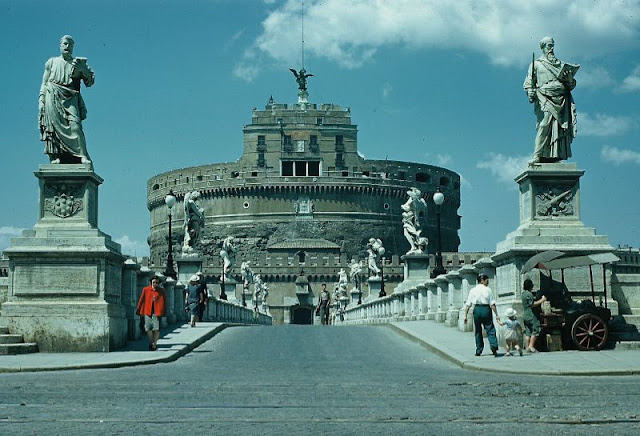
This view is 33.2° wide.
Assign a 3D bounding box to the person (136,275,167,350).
[{"bbox_3d":[-4.230,2.357,26.983,0.672,1.653,0.785,0,-3,-2],"label":"person"}]

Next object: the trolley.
[{"bbox_3d":[6.157,1.974,25.535,1.941,2.368,1.466,-1,-9,3],"label":"trolley"}]

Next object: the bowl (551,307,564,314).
[{"bbox_3d":[5.631,2.199,25.227,0.290,0.139,0.290,-1,-9,0],"label":"bowl"}]

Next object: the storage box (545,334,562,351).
[{"bbox_3d":[5.533,2.918,25.343,0.514,0.472,0.360,-1,4,4],"label":"storage box"}]

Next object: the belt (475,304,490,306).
[{"bbox_3d":[3.847,2.046,25.215,0.309,0.078,0.075,-2,-9,9],"label":"belt"}]

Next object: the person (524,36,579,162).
[{"bbox_3d":[5.868,-2.980,26.916,1.463,3.023,1.030,-2,4,-1],"label":"person"}]

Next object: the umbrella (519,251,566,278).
[{"bbox_3d":[5.192,1.038,25.370,0.713,0.219,0.691,-24,-7,-10],"label":"umbrella"}]

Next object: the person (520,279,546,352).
[{"bbox_3d":[5.098,2.283,25.273,0.587,1.685,0.687,0,1,-9],"label":"person"}]

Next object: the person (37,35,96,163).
[{"bbox_3d":[-6.316,-2.867,26.596,1.465,3.050,1.049,-1,-1,5],"label":"person"}]

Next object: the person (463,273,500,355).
[{"bbox_3d":[3.908,2.299,25.351,0.568,1.956,0.869,5,-11,-34],"label":"person"}]
